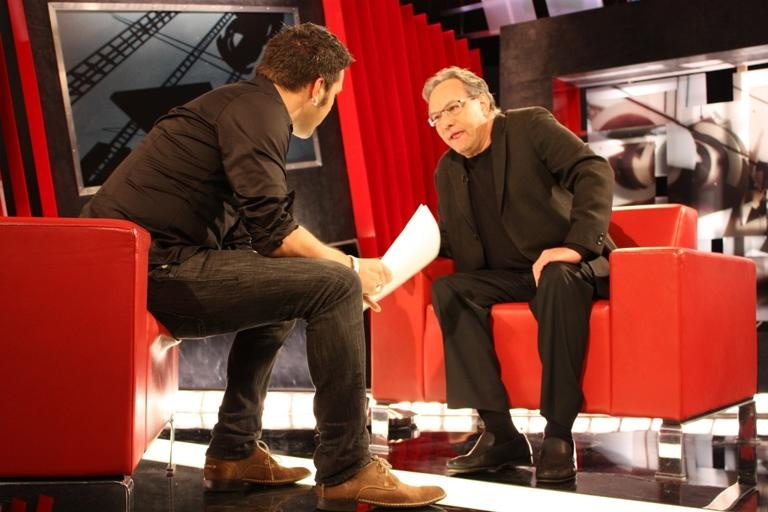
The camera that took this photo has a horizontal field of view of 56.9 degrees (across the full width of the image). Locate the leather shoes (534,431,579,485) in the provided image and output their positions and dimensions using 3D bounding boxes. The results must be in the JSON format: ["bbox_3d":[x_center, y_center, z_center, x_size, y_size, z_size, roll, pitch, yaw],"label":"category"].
[{"bbox_3d":[0.620,0.723,2.537,0.142,0.156,0.079,0,2,8],"label":"leather shoes"}]

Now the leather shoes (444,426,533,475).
[{"bbox_3d":[0.393,0.749,2.722,0.381,0.154,0.129,0,-7,-12],"label":"leather shoes"}]

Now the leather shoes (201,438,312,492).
[{"bbox_3d":[-0.470,0.769,2.602,0.370,0.150,0.137,2,-7,-16],"label":"leather shoes"}]

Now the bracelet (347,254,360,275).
[{"bbox_3d":[-0.101,0.029,2.416,0.042,0.054,0.020,7,-42,-31],"label":"bracelet"}]

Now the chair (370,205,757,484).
[{"bbox_3d":[0.786,0.316,3.219,0.887,0.950,1.509,2,-5,-43],"label":"chair"}]
